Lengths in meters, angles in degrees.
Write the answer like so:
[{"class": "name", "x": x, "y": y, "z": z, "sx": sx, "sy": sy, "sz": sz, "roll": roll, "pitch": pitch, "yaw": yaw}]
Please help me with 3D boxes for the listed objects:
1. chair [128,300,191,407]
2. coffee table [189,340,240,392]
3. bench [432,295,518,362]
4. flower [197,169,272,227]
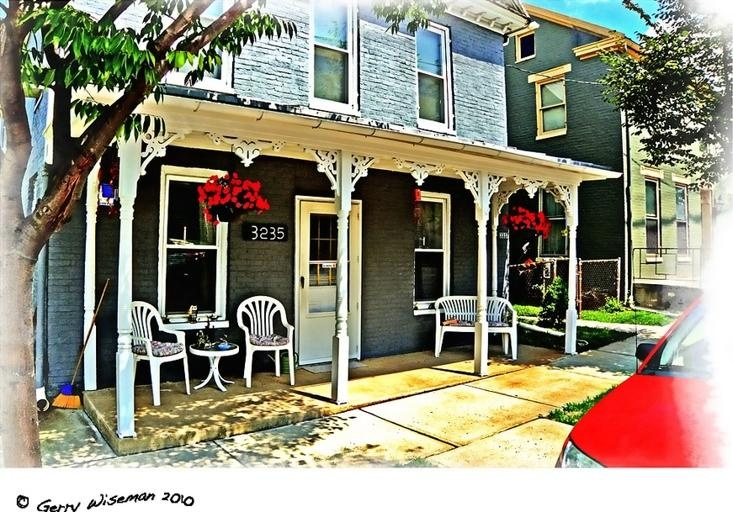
[{"class": "chair", "x": -2.859, "y": 1.316, "z": 8.598, "sx": 0.748, "sy": 1.323, "sz": 1.257, "roll": -3, "pitch": 12, "yaw": -21}, {"class": "coffee table", "x": -2.231, "y": 1.611, "z": 9.038, "sx": 0.678, "sy": 0.566, "sz": 0.692, "roll": 1, "pitch": 2, "yaw": 37}, {"class": "bench", "x": 1.999, "y": 1.378, "z": 11.590, "sx": 1.617, "sy": 1.274, "sz": 1.236, "roll": 0, "pitch": -3, "yaw": 5}, {"class": "flower", "x": -2.022, "y": -0.863, "z": 9.355, "sx": 1.005, "sy": 0.803, "sz": 0.762, "roll": -2, "pitch": 11, "yaw": -15}]
